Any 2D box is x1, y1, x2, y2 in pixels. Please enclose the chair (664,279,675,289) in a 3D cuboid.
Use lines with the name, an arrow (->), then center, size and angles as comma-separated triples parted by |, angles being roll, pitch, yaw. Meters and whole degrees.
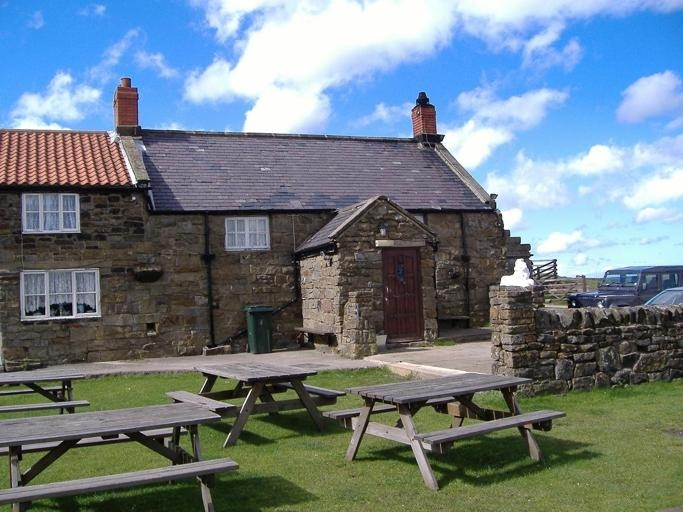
chair -> 10.878, 0.912, 19.023 | 0.329, 0.289, 0.170 | 2, 8, 6

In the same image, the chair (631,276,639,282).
chair -> 9.841, 0.779, 19.143 | 0.165, 0.276, 0.164 | -6, -11, 38
